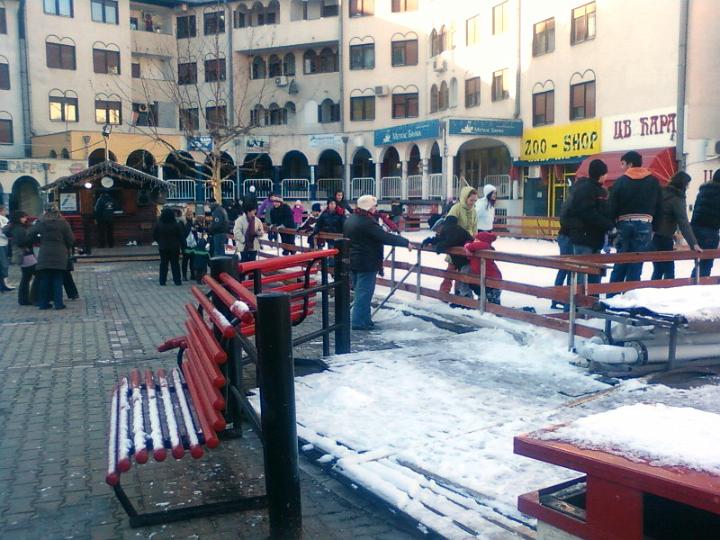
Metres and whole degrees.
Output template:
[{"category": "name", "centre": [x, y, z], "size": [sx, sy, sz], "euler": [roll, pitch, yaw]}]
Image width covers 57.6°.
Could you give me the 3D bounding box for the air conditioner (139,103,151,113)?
[{"category": "air conditioner", "centre": [-14.865, -11.020, 44.943], "size": [0.504, 0.625, 0.340], "euler": [-7, 11, -28]}]

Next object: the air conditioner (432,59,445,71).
[{"category": "air conditioner", "centre": [4.479, -11.614, 37.308], "size": [0.483, 0.815, 0.662], "euler": [-30, 52, -24]}]

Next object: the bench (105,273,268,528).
[{"category": "bench", "centre": [-1.523, 0.984, 5.527], "size": [1.124, 1.169, 2.727], "euler": [-6, 5, -19]}]

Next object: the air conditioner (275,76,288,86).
[{"category": "air conditioner", "centre": [-5.348, -12.686, 44.562], "size": [0.969, 0.885, 0.548], "euler": [1, 2, 10]}]

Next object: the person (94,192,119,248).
[{"category": "person", "centre": [-10.789, -2.108, 27.975], "size": [0.895, 2.325, 0.791], "euler": [-9, 12, -38]}]

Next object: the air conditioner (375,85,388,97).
[{"category": "air conditioner", "centre": [1.311, -11.009, 40.624], "size": [0.652, 0.637, 0.652], "euler": [1, 1, 6]}]

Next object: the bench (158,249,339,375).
[{"category": "bench", "centre": [-0.818, 0.498, 6.769], "size": [1.888, 0.960, 1.328], "euler": [-6, 13, -27]}]
